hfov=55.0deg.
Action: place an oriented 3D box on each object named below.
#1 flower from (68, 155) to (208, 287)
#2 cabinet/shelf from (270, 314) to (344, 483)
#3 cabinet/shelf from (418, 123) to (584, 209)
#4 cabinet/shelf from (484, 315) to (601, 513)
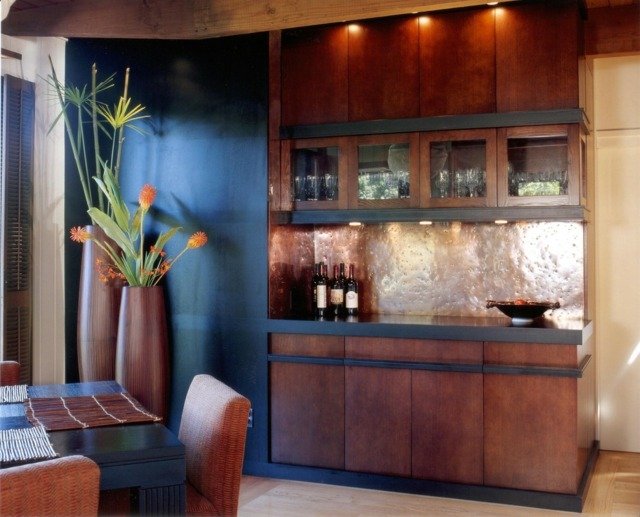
[{"bbox_3d":[-1.264,-0.142,4.015,0.766,0.736,0.756,14,-11,-25],"label":"flower"},{"bbox_3d":[-0.088,0.878,3.922,0.524,0.898,0.157,1,10,18],"label":"cabinet/shelf"},{"bbox_3d":[1.078,-0.552,3.719,0.920,0.461,0.121,1,10,20],"label":"cabinet/shelf"},{"bbox_3d":[1.246,0.913,3.516,0.980,0.981,0.551,-1,-1,29],"label":"cabinet/shelf"}]
